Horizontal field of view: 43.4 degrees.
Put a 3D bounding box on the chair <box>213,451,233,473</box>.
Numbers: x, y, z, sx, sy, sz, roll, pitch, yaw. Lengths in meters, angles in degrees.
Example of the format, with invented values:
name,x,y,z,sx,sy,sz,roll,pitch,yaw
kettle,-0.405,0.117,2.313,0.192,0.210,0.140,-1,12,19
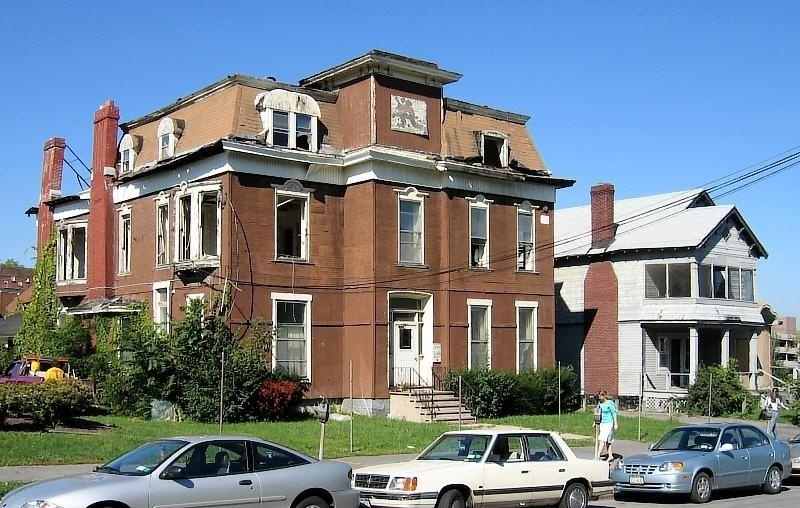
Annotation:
name,x,y,z,sx,sy,sz,roll,pitch,yaw
chair,-5.094,5.869,28.531,0.410,0.599,0.512,0,13,-6

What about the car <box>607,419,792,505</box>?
name,x,y,z,sx,sy,sz,roll,pitch,yaw
car,10.279,7.119,34.252,6.175,2.465,1.833,-4,2,-23

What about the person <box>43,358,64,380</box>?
name,x,y,z,sx,sy,sz,roll,pitch,yaw
person,-14.960,4.931,43.027,0.898,1.258,0.793,2,-3,-2
